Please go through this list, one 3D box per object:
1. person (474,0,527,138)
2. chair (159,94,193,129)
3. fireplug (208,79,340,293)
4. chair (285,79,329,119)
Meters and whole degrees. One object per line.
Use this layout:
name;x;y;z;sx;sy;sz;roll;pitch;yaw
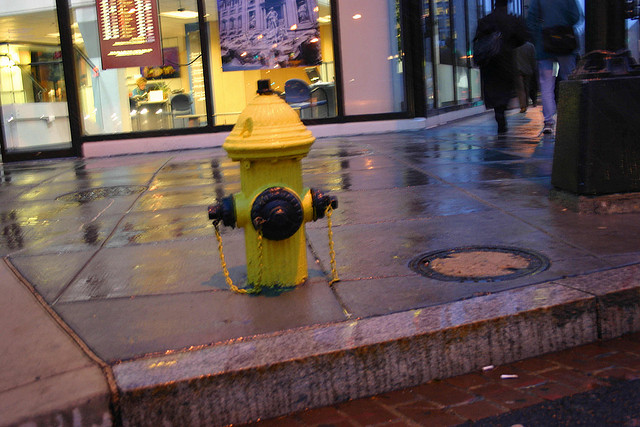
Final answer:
person;3.620;-2.933;11.000;0.963;2.647;0.833;-6;16;1
chair;-3.496;-2.646;13.599;0.778;0.935;0.654;2;35;-4
fireplug;-0.271;-0.172;3.690;0.823;1.387;0.959;-5;12;-1
chair;-0.351;-2.865;13.443;0.781;1.235;0.782;10;29;27
